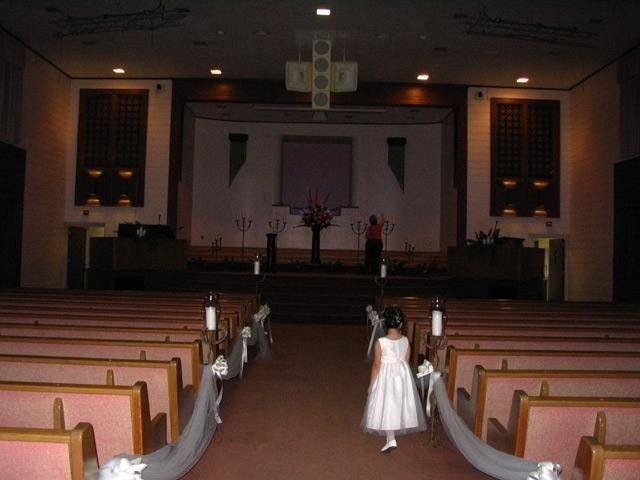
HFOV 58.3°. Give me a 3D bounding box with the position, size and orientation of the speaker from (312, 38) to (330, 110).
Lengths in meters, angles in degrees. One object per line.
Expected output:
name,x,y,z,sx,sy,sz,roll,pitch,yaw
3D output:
speaker,0.016,-2.569,8.912,0.282,1.043,0.223,-1,10,-1

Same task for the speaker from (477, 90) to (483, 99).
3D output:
speaker,3.429,-3.126,12.298,0.159,0.174,0.089,1,6,4

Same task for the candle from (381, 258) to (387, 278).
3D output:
candle,0.861,0.403,7.820,0.080,0.250,0.328,1,10,9

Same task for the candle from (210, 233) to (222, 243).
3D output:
candle,-2.796,-0.035,15.593,0.237,0.279,0.322,9,14,44

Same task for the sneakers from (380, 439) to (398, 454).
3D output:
sneakers,0.564,1.672,4.647,0.063,0.070,0.157,-3,-23,-26

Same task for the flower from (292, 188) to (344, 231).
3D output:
flower,0.028,-0.539,12.879,1.107,1.404,1.154,0,5,-7
